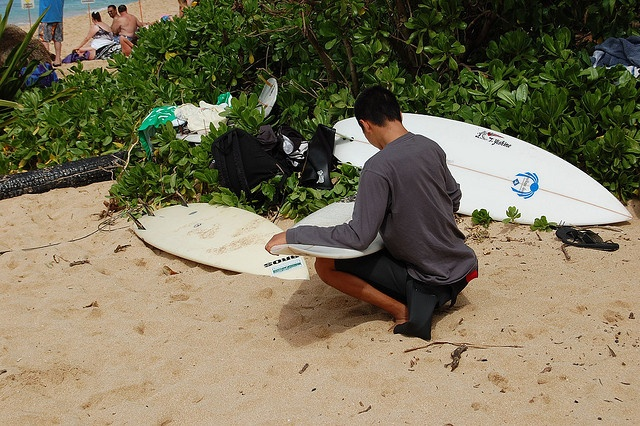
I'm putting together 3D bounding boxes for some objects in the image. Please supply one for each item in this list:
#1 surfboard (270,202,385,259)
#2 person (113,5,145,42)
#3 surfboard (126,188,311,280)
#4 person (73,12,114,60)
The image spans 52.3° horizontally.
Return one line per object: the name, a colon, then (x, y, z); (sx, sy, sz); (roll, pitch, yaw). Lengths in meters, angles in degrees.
surfboard: (0.064, 0.153, 5.376); (0.462, 0.128, 0.740); (3, 26, 35)
person: (-3.858, -3.734, 12.813); (0.520, 0.658, 1.053); (-5, 26, -17)
surfboard: (-1.048, 0.386, 6.785); (1.998, 0.426, 0.756); (25, 45, 32)
person: (-4.732, -3.551, 13.262); (0.921, 1.037, 1.026); (-5, 9, -8)
